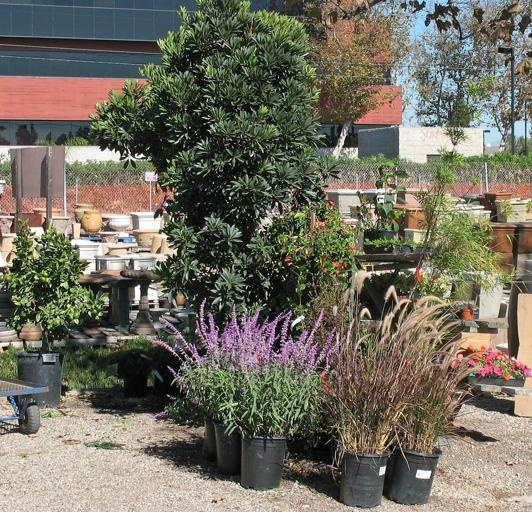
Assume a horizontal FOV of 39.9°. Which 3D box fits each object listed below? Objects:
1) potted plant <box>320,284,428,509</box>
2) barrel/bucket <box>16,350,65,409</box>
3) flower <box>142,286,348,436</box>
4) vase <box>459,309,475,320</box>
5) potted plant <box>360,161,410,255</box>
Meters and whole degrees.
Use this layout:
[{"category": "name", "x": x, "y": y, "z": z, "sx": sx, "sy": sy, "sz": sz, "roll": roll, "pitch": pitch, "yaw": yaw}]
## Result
[{"category": "potted plant", "x": 0.693, "y": 0.825, "z": 4.580, "sx": 0.637, "sy": 1.326, "sz": 0.802, "roll": 3, "pitch": 5, "yaw": 13}, {"category": "barrel/bucket", "x": -1.864, "y": 1.039, "z": 6.379, "sx": 0.483, "sy": 0.481, "sz": 0.475, "roll": 1, "pitch": 1, "yaw": 0}, {"category": "flower", "x": -0.116, "y": 0.737, "z": 4.834, "sx": 1.124, "sy": 0.783, "sz": 0.984, "roll": -3, "pitch": -9, "yaw": 6}, {"category": "vase", "x": 1.810, "y": 0.514, "z": 6.596, "sx": 0.104, "sy": 0.075, "sz": 0.104, "roll": -1, "pitch": 0, "yaw": 23}, {"category": "potted plant", "x": 1.129, "y": -0.442, "z": 7.069, "sx": 0.444, "sy": 0.892, "sz": 0.310, "roll": -1, "pitch": -13, "yaw": 26}]
